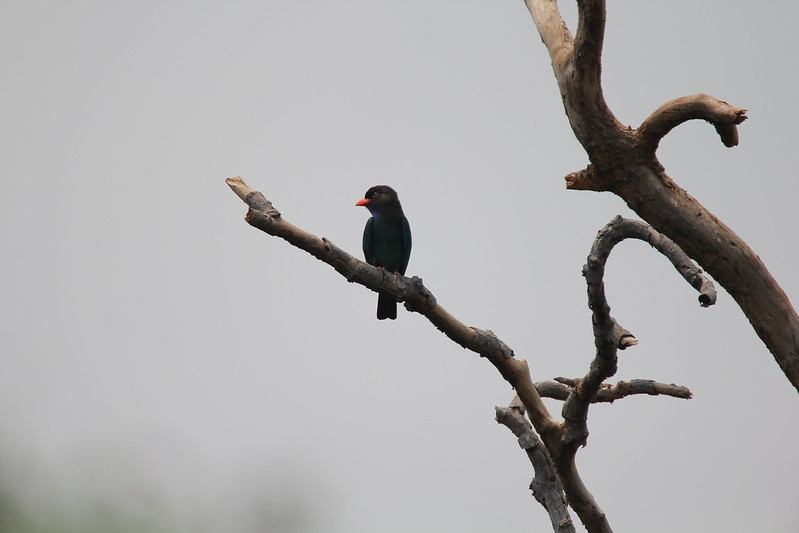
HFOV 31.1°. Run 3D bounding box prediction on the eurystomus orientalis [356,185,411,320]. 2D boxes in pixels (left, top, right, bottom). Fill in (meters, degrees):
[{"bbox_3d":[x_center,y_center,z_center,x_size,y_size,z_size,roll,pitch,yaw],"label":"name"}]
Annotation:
[{"bbox_3d":[-0.094,-0.094,7.645,0.281,0.586,0.447,1,-52,4],"label":"eurystomus orientalis"}]
